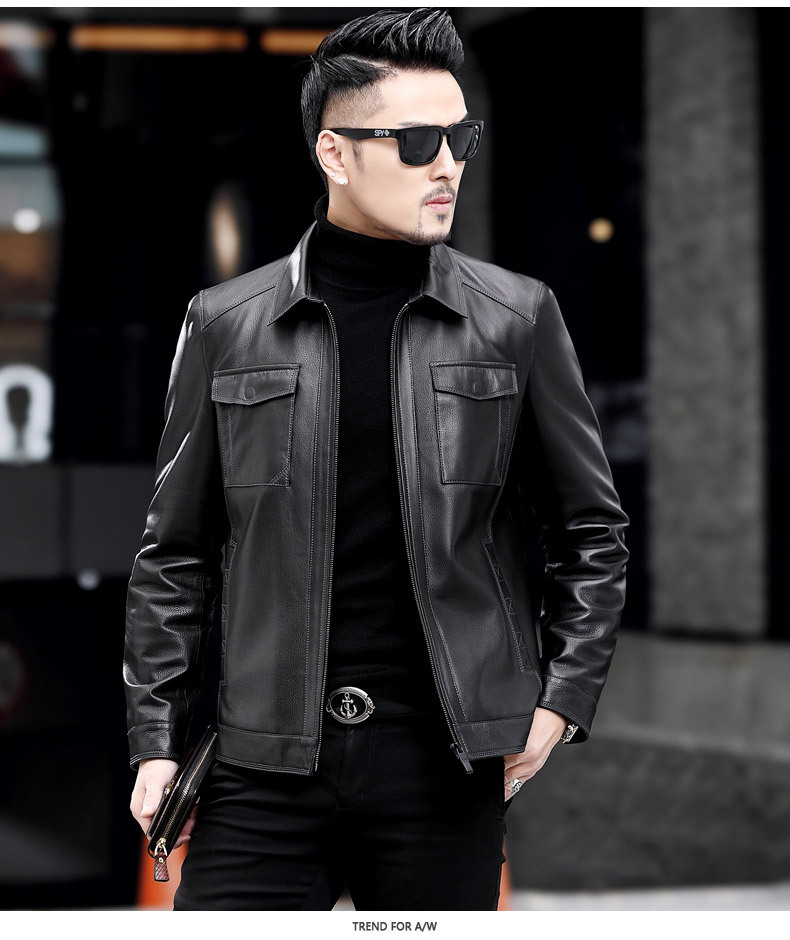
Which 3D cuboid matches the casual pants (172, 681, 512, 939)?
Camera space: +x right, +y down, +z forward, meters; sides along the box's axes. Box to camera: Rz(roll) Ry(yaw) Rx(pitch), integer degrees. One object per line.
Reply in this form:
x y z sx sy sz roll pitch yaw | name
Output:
-0.095 0.634 2.181 0.481 0.571 0.211 10 12 -7 | casual pants

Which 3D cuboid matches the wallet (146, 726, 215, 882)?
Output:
-0.412 0.661 2.208 0.117 0.294 0.188 2 3 3 | wallet

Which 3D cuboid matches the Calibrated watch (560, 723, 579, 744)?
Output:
0.337 0.513 2.260 0.044 0.039 0.013 -8 36 -38 | Calibrated watch

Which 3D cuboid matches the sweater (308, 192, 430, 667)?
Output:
-0.062 -0.067 2.294 0.240 0.864 0.335 2 3 -4 | sweater

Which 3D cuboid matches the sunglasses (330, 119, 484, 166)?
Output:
0.032 -0.651 2.297 0.162 0.050 0.156 -10 16 -36 | sunglasses
